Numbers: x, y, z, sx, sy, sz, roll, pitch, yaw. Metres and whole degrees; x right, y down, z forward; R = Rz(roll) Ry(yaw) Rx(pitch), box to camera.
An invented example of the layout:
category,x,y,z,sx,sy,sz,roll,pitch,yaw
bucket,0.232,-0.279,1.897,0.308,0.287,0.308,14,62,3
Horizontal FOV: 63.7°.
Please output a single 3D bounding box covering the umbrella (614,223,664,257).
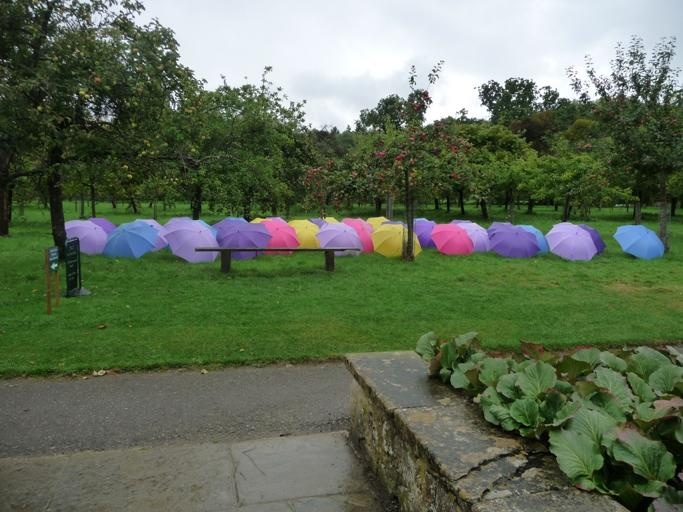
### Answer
category,x,y,z,sx,sy,sz,roll,pitch,yaw
umbrella,13.146,-0.612,24.332,2.016,1.419,1.294,-4,5,-22
